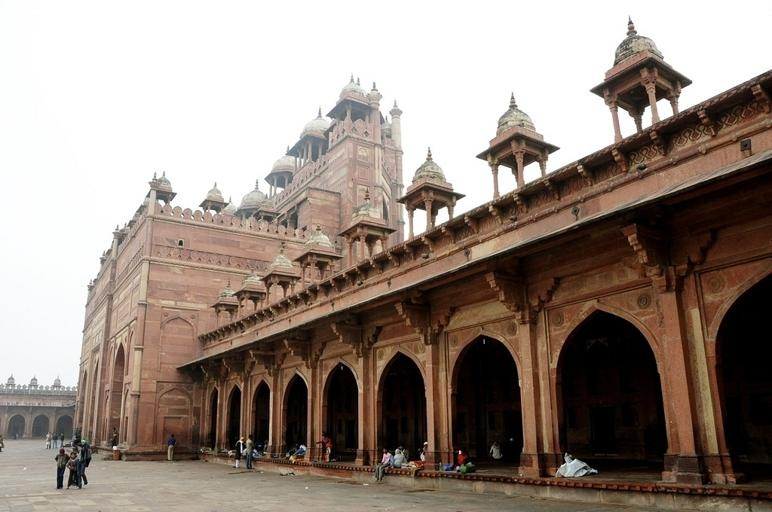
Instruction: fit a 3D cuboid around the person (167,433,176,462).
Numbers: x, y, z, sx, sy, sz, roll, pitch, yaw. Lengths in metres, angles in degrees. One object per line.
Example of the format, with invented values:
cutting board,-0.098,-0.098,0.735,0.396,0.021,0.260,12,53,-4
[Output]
person,-10.030,8.892,31.185,0.373,1.326,1.314,8,-24,-16
